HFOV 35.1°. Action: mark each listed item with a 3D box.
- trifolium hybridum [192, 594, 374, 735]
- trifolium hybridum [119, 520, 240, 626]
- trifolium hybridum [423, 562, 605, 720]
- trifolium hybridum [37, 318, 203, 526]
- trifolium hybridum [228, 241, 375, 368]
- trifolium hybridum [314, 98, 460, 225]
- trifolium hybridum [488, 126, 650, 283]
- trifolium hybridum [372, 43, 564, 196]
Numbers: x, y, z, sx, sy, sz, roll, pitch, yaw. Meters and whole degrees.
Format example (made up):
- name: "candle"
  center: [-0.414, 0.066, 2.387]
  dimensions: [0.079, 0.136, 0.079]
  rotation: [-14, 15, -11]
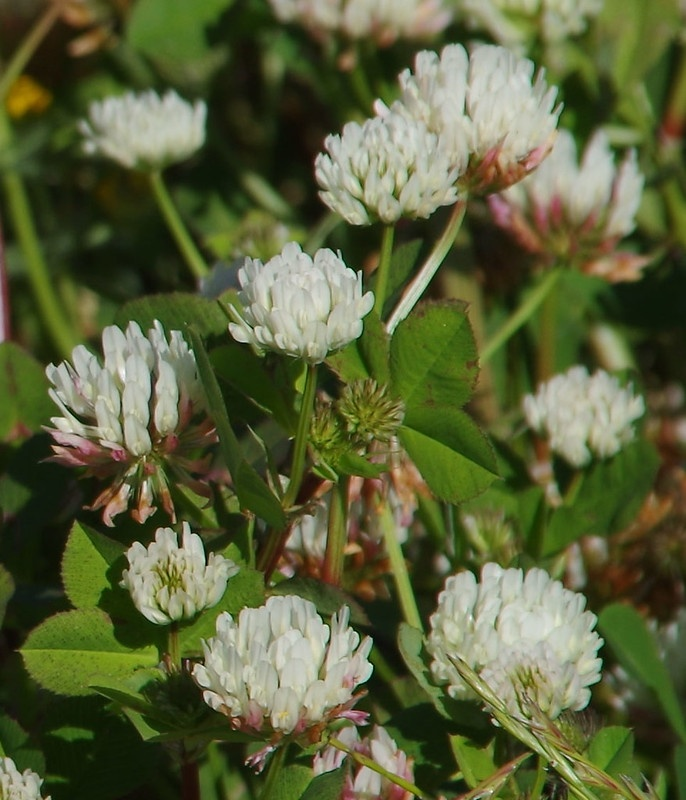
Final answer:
- name: "trifolium hybridum"
  center: [-0.022, 0.102, 0.417]
  dimensions: [0.065, 0.064, 0.058]
  rotation: [0, 58, 0]
- name: "trifolium hybridum"
  center: [-0.064, 0.068, 0.419]
  dimensions: [0.035, 0.019, 0.040]
  rotation: [22, 74, 3]
- name: "trifolium hybridum"
  center: [0.067, 0.097, 0.438]
  dimensions: [0.058, 0.039, 0.063]
  rotation: [15, 70, 3]
- name: "trifolium hybridum"
  center: [-0.088, 0.007, 0.449]
  dimensions: [0.073, 0.052, 0.076]
  rotation: [8, 47, 9]
- name: "trifolium hybridum"
  center: [-0.015, -0.035, 0.408]
  dimensions: [0.042, 0.034, 0.049]
  rotation: [-3, 56, -4]
- name: "trifolium hybridum"
  center: [0.014, -0.100, 0.483]
  dimensions: [0.067, 0.069, 0.045]
  rotation: [-12, 95, 22]
- name: "trifolium hybridum"
  center: [0.161, -0.133, 0.721]
  dimensions: [0.050, 0.109, 0.106]
  rotation: [-36, 37, -22]
- name: "trifolium hybridum"
  center: [0.062, -0.114, 0.489]
  dimensions: [0.050, 0.040, 0.055]
  rotation: [26, 15, -29]
